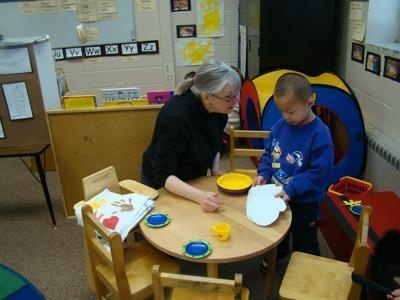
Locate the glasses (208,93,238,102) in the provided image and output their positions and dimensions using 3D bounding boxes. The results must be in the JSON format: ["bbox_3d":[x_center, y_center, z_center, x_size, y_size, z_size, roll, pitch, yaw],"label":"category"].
[{"bbox_3d":[0.151,-0.322,1.941,0.184,0.076,0.030,-12,25,-15],"label":"glasses"}]

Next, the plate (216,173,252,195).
[{"bbox_3d":[0.228,0.224,2.111,0.150,0.039,0.159,-4,32,4],"label":"plate"}]

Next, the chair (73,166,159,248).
[{"bbox_3d":[-0.539,0.375,2.012,0.342,0.530,0.400,27,44,32],"label":"chair"}]

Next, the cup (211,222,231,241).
[{"bbox_3d":[0.117,0.438,1.711,0.105,0.059,0.113,-4,25,2],"label":"cup"}]

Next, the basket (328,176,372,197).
[{"bbox_3d":[1.252,0.338,2.666,0.335,0.151,0.179,-4,24,1],"label":"basket"}]

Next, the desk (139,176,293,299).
[{"bbox_3d":[0.088,0.526,1.961,0.545,0.379,0.566,3,46,4],"label":"desk"}]

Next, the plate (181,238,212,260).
[{"bbox_3d":[-0.016,0.519,1.619,0.151,0.027,0.114,-5,25,0],"label":"plate"}]
